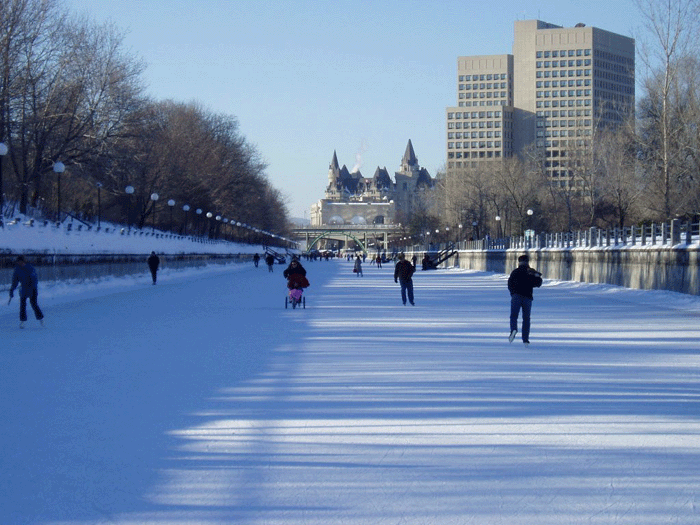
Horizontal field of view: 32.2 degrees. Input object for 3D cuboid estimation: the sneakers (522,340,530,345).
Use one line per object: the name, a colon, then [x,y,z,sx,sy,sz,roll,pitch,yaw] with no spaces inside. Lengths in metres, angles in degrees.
sneakers: [3.698,1.653,25.281,0.068,0.124,0.116,1,-6,-10]

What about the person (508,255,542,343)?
person: [3.676,0.748,25.445,0.627,1.993,1.584,1,8,8]

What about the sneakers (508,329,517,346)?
sneakers: [3.424,1.536,25.390,0.115,0.332,0.132,12,20,-2]

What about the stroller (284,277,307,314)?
stroller: [-1.532,0.875,34.321,0.477,0.770,1.242,-1,-2,-2]
